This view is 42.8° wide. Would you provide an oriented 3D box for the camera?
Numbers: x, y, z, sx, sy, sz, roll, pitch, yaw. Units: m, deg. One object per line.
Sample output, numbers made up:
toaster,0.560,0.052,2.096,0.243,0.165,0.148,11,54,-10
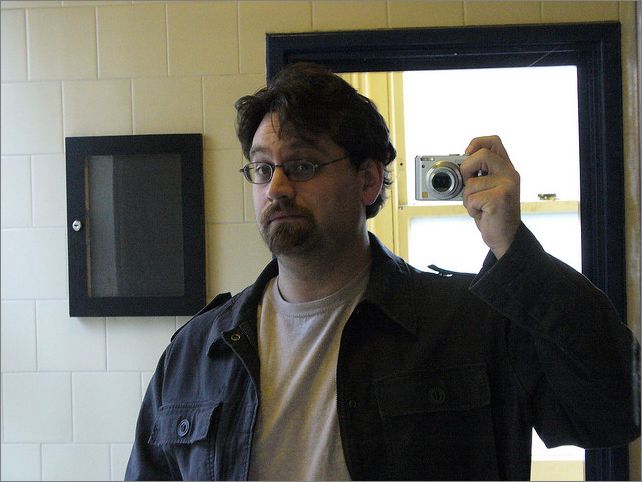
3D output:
camera,0.250,-0.128,1.808,0.121,0.097,0.043,11,-4,-42
